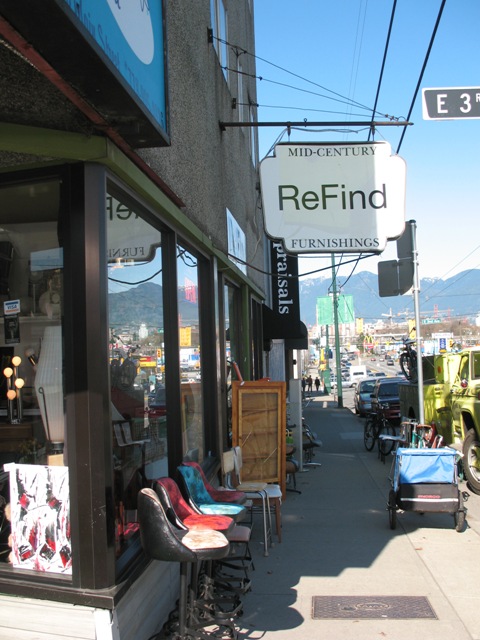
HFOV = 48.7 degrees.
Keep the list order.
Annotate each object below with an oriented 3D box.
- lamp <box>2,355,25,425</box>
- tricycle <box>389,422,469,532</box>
[{"bbox_3d":[-1.531,0.466,3.579,0.235,0.446,0.078,-5,-4,39],"label":"lamp"},{"bbox_3d":[2.233,2.001,6.996,0.905,1.324,1.595,0,-19,8],"label":"tricycle"}]
